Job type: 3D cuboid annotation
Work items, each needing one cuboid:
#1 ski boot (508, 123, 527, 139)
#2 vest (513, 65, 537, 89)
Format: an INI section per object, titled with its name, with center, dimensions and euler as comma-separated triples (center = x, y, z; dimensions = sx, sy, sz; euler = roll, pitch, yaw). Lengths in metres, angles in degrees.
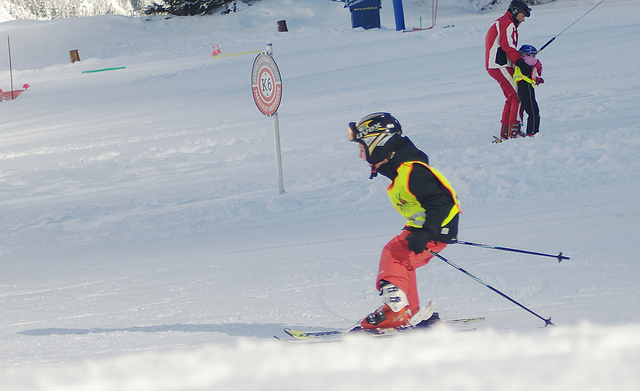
[ski boot]
center = 5.987, -1.953, 37.521
dimensions = 0.574, 0.436, 0.383
euler = -3, 26, 8
[vest]
center = 6.110, -3.575, 37.374
dimensions = 0.899, 0.573, 0.571
euler = -2, 8, -8
